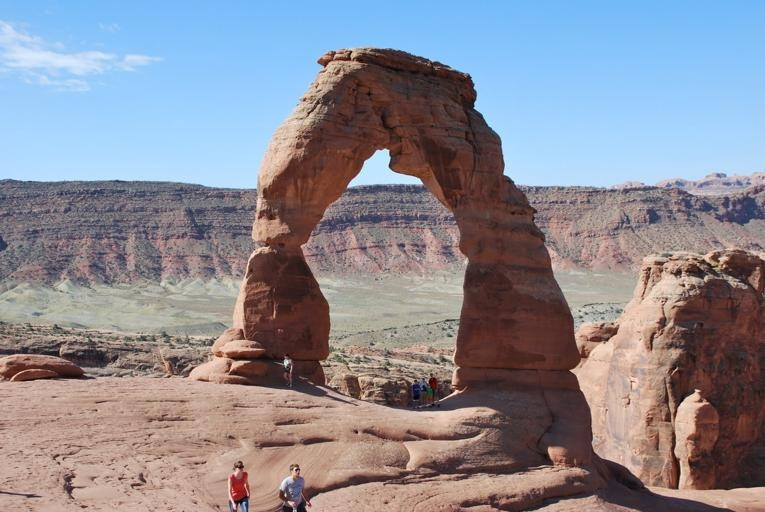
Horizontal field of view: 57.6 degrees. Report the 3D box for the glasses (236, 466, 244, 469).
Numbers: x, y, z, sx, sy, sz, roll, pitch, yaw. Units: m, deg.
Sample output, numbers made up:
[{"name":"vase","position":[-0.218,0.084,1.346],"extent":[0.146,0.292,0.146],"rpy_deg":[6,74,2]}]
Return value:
[{"name":"glasses","position":[-2.652,3.982,13.067],"extent":[0.139,0.050,0.112],"rpy_deg":[1,-5,-16]}]
